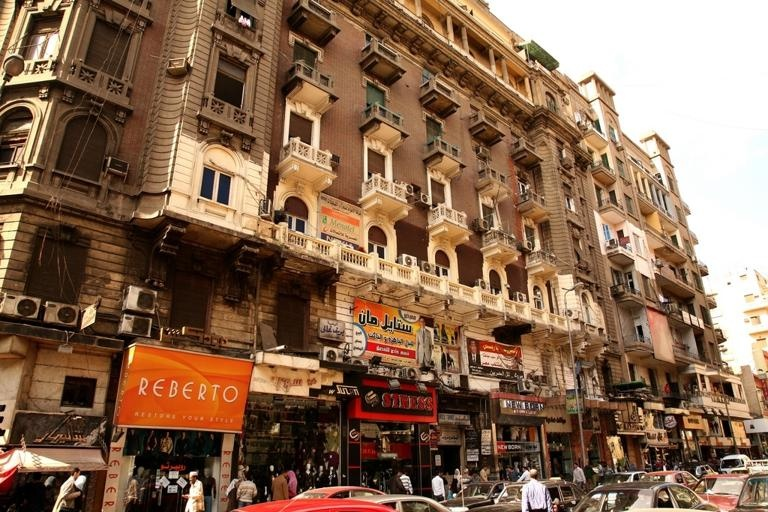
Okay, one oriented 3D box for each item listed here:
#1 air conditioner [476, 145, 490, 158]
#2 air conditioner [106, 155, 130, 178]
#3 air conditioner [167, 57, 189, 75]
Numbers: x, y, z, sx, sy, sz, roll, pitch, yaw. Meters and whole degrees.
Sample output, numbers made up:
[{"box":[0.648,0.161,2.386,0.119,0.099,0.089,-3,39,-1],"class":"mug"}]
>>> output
[{"box":[7.210,-7.744,40.218,0.547,0.631,1.085,-16,-18,40],"class":"air conditioner"},{"box":[-11.722,-4.044,24.393,1.246,0.812,1.152,15,-2,-36],"class":"air conditioner"},{"box":[-9.798,-9.152,26.023,1.097,1.057,0.401,-2,-26,3],"class":"air conditioner"}]
